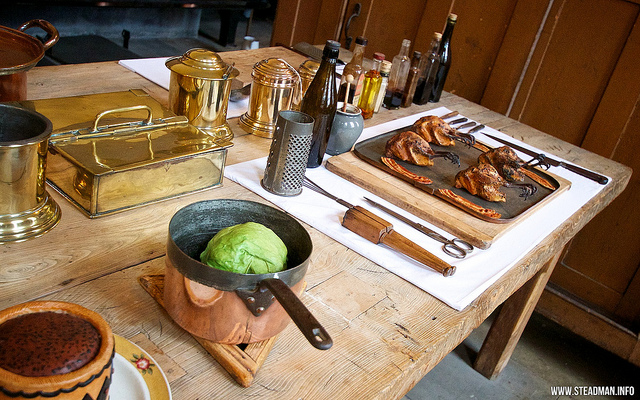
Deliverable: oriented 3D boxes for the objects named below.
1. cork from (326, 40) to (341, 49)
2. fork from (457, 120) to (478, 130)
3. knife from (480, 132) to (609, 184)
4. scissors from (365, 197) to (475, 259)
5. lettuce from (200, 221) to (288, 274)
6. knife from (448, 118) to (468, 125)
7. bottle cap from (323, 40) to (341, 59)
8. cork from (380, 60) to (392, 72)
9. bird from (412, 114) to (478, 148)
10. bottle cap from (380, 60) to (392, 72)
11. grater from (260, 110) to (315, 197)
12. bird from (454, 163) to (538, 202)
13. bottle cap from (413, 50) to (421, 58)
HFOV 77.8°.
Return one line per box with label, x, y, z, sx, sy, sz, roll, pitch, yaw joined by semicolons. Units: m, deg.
cork;0.038;-0.454;1.156;0.031;0.010;0.029;-9;33;-30
fork;0.702;-0.353;1.893;0.172;0.019;0.029;-25;56;-40
knife;0.984;-0.180;1.742;0.668;0.034;0.094;27;31;15
scissors;0.306;0.075;1.187;0.290;0.014;0.094;27;34;31
lettuce;-0.131;0.091;0.709;0.101;0.040;0.113;24;26;28
knife;0.675;-0.383;1.915;0.036;0.024;0.225;18;21;37
bottle cap;0.040;-0.446;1.179;0.052;0.051;0.048;9;35;-1
cork;0.286;-0.583;1.727;0.053;0.037;0.051;-22;40;-28
bird;0.503;-0.280;1.632;0.252;0.090;0.142;20;32;15
bottle cap;0.289;-0.574;1.732;0.055;0.038;0.053;-20;37;-28
grater;-0.099;-0.121;1.147;0.135;0.222;0.083;4;34;-6
bird;0.594;-0.061;1.383;0.273;0.095;0.173;13;20;14
bottle cap;0.463;-0.692;1.893;0.026;0.018;0.033;-2;14;-11
